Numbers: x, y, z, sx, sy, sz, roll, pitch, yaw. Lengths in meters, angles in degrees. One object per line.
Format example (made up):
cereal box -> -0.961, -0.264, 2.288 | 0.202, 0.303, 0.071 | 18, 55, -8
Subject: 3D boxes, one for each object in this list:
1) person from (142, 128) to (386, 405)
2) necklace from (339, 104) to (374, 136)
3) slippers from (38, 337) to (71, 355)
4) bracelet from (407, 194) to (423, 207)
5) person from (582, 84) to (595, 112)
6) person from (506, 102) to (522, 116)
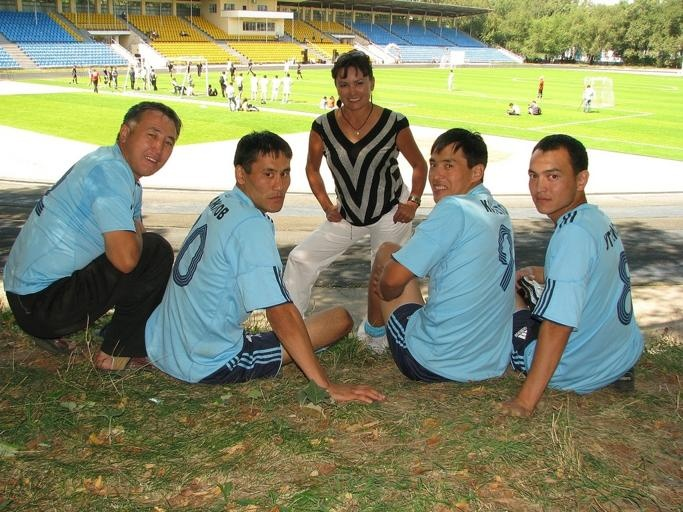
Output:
person -> -0.656, 0.073, 3.562 | 1.375, 1.654, 0.570 | 7, 18, 21
necklace -> 0.159, -1.278, 5.192 | 0.269, 0.342, 0.088 | 0, 6, 10
slippers -> -2.247, 0.704, 4.226 | 0.199, 0.073, 0.159 | 5, -3, 21
bracelet -> 0.726, -0.557, 5.385 | 0.145, 0.096, 0.156 | 15, -7, 43
person -> 13.928, -8.892, 30.170 | 0.390, 1.511, 2.342 | 7, 17, 22
person -> 9.137, -7.648, 28.177 | 0.665, 0.539, 0.762 | 5, 16, 14
